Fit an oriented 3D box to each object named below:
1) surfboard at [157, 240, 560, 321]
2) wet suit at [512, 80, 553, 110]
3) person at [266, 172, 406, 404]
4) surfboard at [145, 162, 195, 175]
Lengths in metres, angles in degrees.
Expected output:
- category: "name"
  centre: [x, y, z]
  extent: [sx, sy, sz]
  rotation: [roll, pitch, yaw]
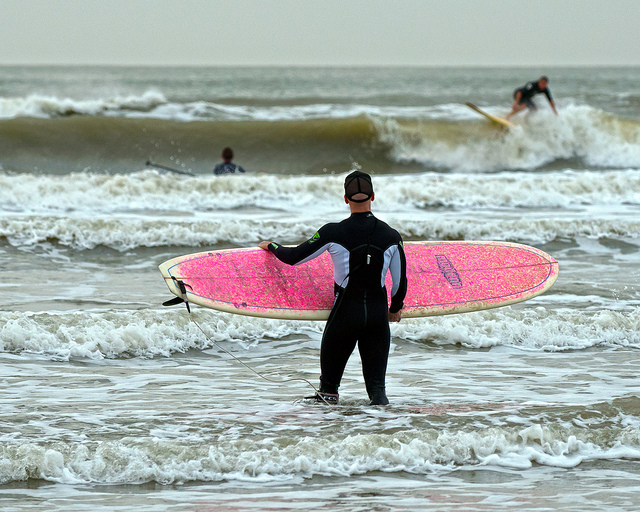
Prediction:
- category: "surfboard"
  centre: [0.346, 0.207, 10.902]
  extent: [4.130, 0.423, 1.148]
  rotation: [-1, 46, -14]
- category: "wet suit"
  centre: [4.180, -3.124, 23.585]
  extent: [0.542, 0.708, 1.277]
  rotation: [-6, 17, -4]
- category: "person"
  centre: [0.266, 0.295, 10.308]
  extent: [0.987, 1.937, 0.599]
  rotation: [-6, 19, -2]
- category: "surfboard"
  centre: [-2.541, -1.479, 20.423]
  extent: [0.206, 0.184, 1.412]
  rotation: [-6, 17, -33]
